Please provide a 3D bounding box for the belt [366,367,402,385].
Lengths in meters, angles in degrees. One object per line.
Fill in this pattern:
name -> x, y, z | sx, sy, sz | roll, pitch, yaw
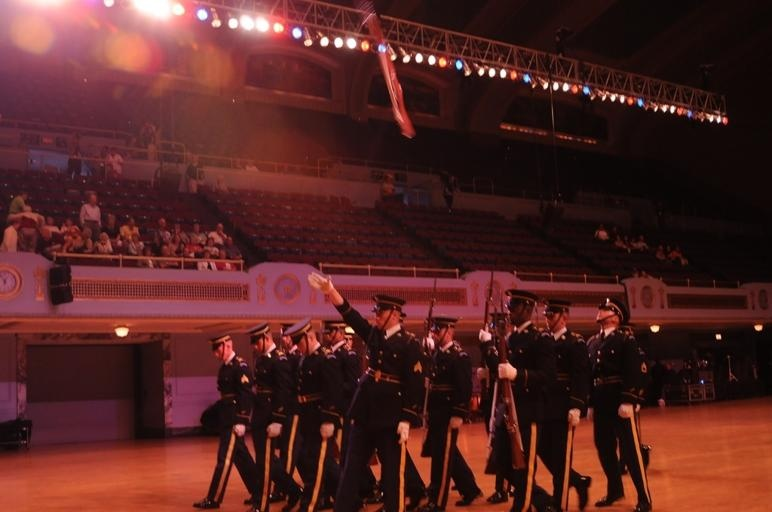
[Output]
belt -> -0.062, 2.241, 15.095 | 0.334, 0.154, 0.336 | 22, -13, -12

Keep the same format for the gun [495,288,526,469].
gun -> 2.402, 2.497, 15.658 | 0.594, 3.367, 0.111 | -6, -5, -15

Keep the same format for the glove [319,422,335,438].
glove -> -1.195, 3.489, 16.481 | 0.234, 0.341, 0.323 | 19, 3, -13

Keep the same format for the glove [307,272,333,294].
glove -> -1.451, 0.605, 17.641 | 0.543, 0.331, 0.172 | 18, 10, 5

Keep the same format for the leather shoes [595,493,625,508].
leather shoes -> 4.472, 4.948, 16.496 | 0.615, 0.267, 0.240 | 0, -29, -4

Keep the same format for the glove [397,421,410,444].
glove -> 0.321, 3.244, 14.957 | 0.190, 0.403, 0.215 | 4, -10, -33

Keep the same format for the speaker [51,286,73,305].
speaker -> -8.834, 1.090, 22.261 | 0.604, 0.465, 0.480 | 2, -9, -24

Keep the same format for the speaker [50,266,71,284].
speaker -> -8.913, 0.536, 22.315 | 0.652, 0.526, 0.198 | -5, -9, 19

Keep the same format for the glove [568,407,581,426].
glove -> 3.727, 3.175, 16.000 | 0.206, 0.352, 0.404 | -7, -11, 36

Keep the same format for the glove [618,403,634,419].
glove -> 4.788, 3.091, 16.274 | 0.292, 0.314, 0.083 | 1, -2, 17

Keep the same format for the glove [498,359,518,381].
glove -> 2.322, 2.205, 15.534 | 0.368, 0.358, 0.227 | -2, -8, 6
